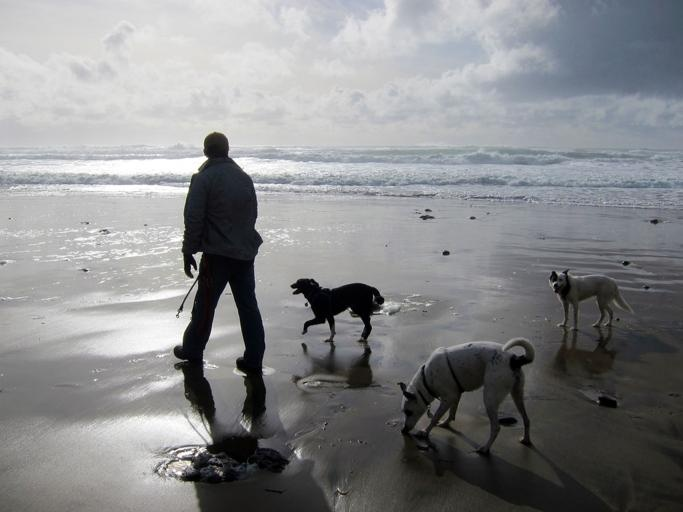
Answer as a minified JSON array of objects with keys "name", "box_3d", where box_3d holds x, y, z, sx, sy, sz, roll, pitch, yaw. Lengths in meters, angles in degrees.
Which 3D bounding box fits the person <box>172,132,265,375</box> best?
[{"name":"person","box_3d":[-1.333,-0.024,5.282,0.980,2.563,0.751,1,16,-3]}]

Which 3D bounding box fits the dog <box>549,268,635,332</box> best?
[{"name":"dog","box_3d":[3.595,0.629,7.079,1.385,0.794,0.388,2,-2,-15]}]

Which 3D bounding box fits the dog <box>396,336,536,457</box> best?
[{"name":"dog","box_3d":[1.103,1.238,4.379,0.393,0.831,1.342,18,-23,-41]}]

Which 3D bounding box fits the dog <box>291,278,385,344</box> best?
[{"name":"dog","box_3d":[-0.062,0.708,6.608,1.222,0.741,0.771,2,15,2]}]
